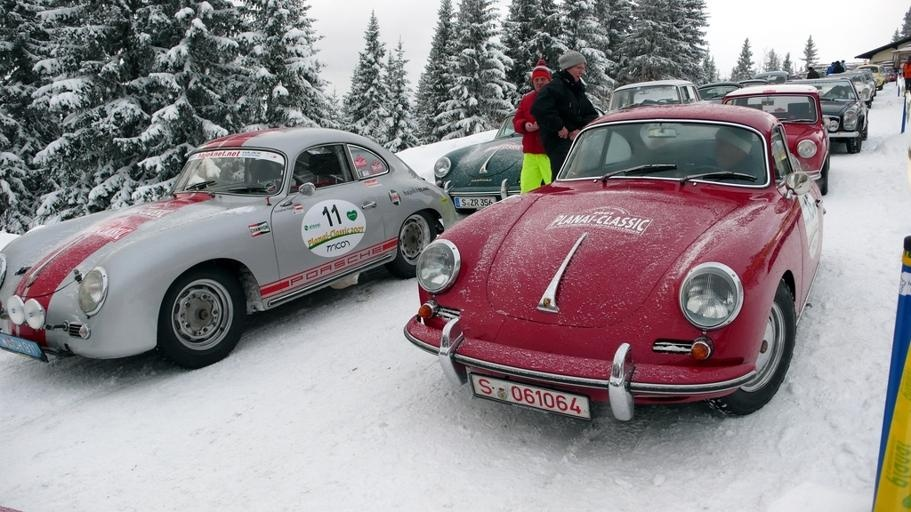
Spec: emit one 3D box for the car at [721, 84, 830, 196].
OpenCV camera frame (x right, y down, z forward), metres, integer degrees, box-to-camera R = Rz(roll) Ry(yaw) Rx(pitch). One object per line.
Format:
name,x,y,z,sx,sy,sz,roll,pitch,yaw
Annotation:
car,6.821,-2.660,10.967,2.364,1.790,3.966,-2,15,32

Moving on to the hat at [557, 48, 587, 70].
hat,1.721,-2.934,7.558,0.354,0.274,0.384,-11,2,45
